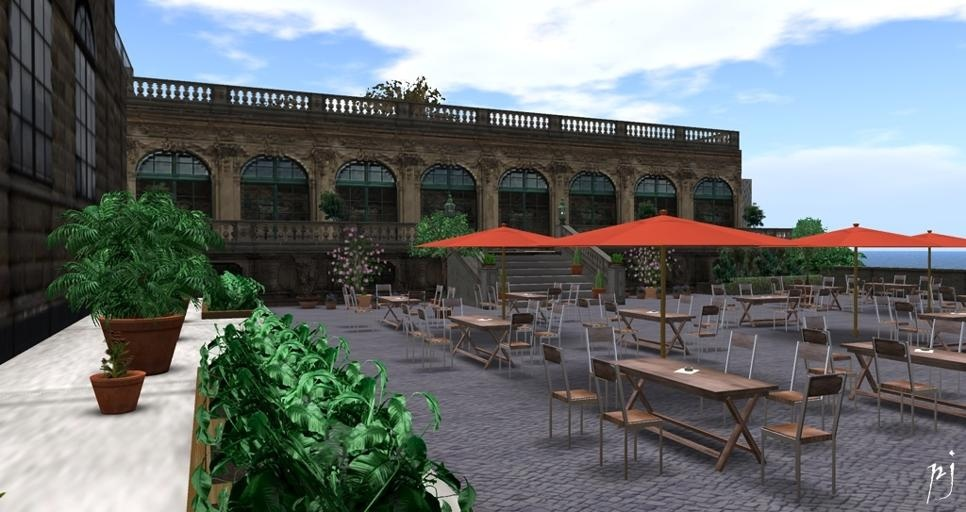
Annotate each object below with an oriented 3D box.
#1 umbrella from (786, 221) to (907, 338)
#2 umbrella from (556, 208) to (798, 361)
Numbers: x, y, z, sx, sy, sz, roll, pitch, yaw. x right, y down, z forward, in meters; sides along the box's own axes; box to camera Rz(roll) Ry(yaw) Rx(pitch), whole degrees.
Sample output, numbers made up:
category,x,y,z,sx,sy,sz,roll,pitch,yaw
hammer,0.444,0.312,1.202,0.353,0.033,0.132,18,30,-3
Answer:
category,x,y,z,sx,sy,sz,roll,pitch,yaw
umbrella,11.730,0.751,19.795,4.616,3.614,4.184,1,3,37
umbrella,3.942,0.208,13.596,3.633,2.279,3.887,6,-6,-16
